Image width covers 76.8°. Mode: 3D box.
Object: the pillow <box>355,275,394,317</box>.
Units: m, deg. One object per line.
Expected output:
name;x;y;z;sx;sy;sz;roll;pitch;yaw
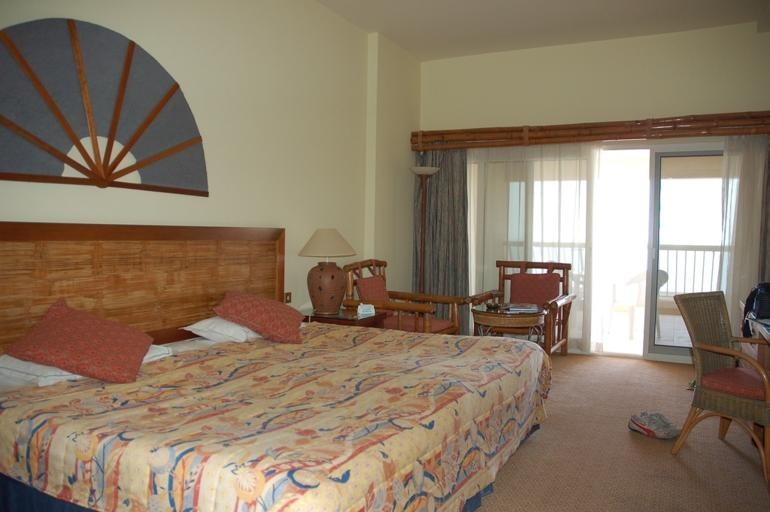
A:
pillow;-0.115;0.396;5.363;0.103;0.330;0.348;-20;-18;37

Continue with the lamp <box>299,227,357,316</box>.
lamp;-0.590;0.169;4.961;0.614;0.803;0.589;1;2;11

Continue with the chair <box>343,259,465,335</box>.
chair;0.244;0.484;5.481;1.082;1.208;0.868;2;6;29

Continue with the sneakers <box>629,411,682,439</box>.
sneakers;2.263;1.436;4.090;0.259;0.092;0.194;2;6;37

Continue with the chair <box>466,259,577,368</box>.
chair;1.608;0.682;5.777;1.329;1.030;1.215;-8;9;-42

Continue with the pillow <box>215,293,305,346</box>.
pillow;-0.985;0.509;3.940;0.541;0.161;0.427;21;7;6
